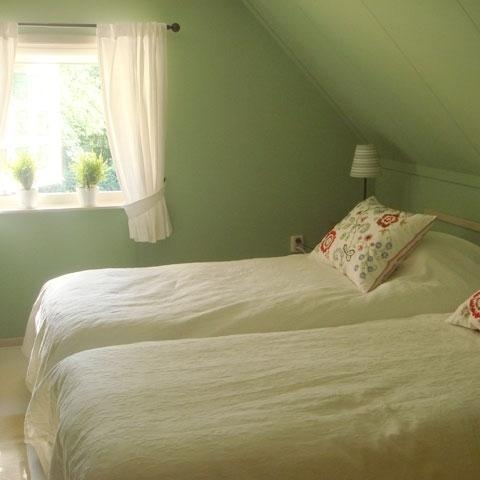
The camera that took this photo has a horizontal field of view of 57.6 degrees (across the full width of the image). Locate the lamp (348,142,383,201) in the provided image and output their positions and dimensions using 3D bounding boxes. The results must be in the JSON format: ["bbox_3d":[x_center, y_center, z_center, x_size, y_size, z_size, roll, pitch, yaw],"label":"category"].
[{"bbox_3d":[0.896,-0.488,3.156,0.198,0.417,0.542,2,11,15],"label":"lamp"}]

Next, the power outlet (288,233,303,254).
[{"bbox_3d":[0.422,0.012,3.341,0.118,0.195,0.059,-6,9,-35],"label":"power outlet"}]

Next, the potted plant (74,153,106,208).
[{"bbox_3d":[-1.031,-0.430,3.043,0.227,0.369,0.242,-5,11,-21],"label":"potted plant"}]

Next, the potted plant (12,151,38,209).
[{"bbox_3d":[-1.420,-0.392,2.909,0.119,0.375,0.135,-14,-10,28],"label":"potted plant"}]
